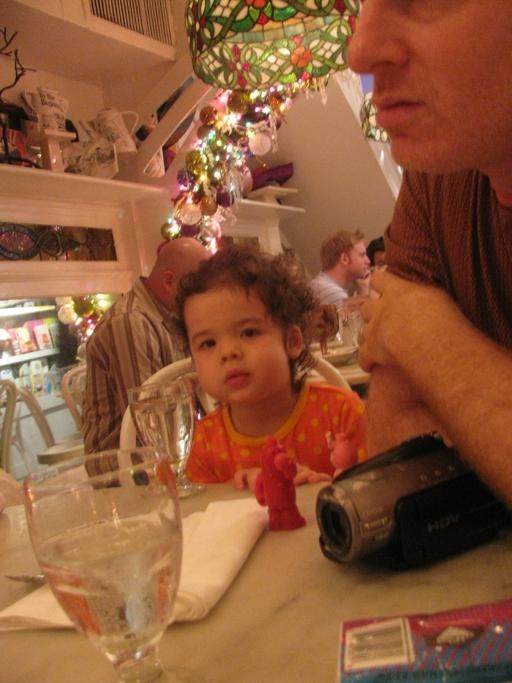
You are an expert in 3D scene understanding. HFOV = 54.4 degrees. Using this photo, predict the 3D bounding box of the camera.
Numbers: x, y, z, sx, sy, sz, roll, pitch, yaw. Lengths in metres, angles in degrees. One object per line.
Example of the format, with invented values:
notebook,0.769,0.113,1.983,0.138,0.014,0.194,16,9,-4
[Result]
camera,0.140,0.126,0.421,0.199,0.086,0.056,-4,-9,-38

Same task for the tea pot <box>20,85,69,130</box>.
tea pot,-1.016,-1.079,2.393,0.212,0.214,0.083,-36,31,-31

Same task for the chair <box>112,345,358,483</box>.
chair,-0.036,0.098,1.035,0.344,0.411,0.308,-3,-7,4
